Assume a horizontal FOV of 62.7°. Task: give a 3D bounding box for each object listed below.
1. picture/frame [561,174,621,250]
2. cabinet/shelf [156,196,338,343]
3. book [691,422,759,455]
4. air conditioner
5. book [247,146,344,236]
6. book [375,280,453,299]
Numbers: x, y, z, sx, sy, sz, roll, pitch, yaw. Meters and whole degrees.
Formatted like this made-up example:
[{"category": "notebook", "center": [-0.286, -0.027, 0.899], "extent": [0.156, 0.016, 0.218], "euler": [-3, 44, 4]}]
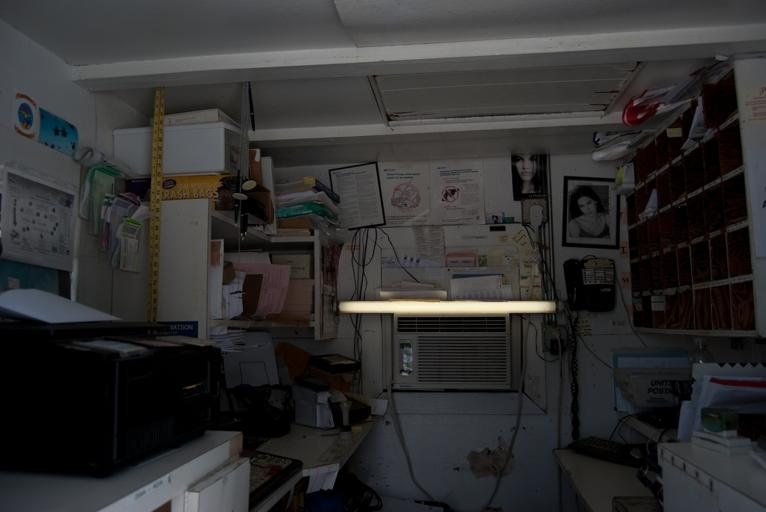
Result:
[{"category": "picture/frame", "center": [1.624, -0.318, 4.844], "extent": [0.583, 0.773, 0.027], "euler": [0, -7, 1]}, {"category": "cabinet/shelf", "center": [-0.882, 0.198, 4.167], "extent": [0.633, 0.722, 1.261], "euler": [-7, -12, 30]}, {"category": "book", "center": [1.702, 0.919, 3.142], "extent": [0.134, 0.074, 0.252], "euler": [1, -6, -7]}, {"category": "air conditioner", "center": [0.536, 0.803, 4.938], "extent": [0.908, 0.574, 0.533], "euler": [-1, -19, 6]}, {"category": "book", "center": [-0.617, -0.436, 4.472], "extent": [0.658, 0.231, 0.512], "euler": [-2, -6, 8]}, {"category": "book", "center": [0.226, 0.264, 4.821], "extent": [0.540, 0.155, 0.173], "euler": [-2, -8, 4]}]
